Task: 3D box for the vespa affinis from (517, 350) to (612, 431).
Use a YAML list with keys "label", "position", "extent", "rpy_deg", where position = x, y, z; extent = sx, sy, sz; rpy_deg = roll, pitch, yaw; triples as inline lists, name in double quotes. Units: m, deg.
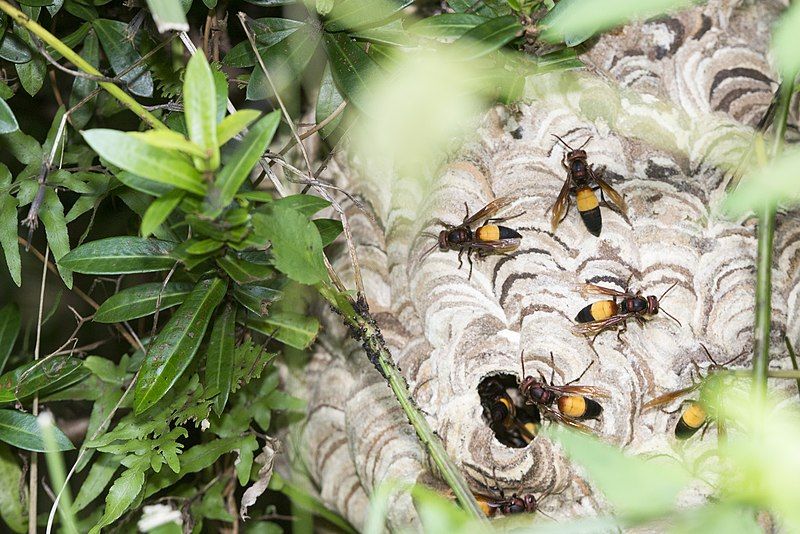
- label: "vespa affinis"
  position: [1.005, 0.750, 4.696]
  extent: [0.465, 0.437, 0.146]
  rpy_deg: [28, 21, 18]
